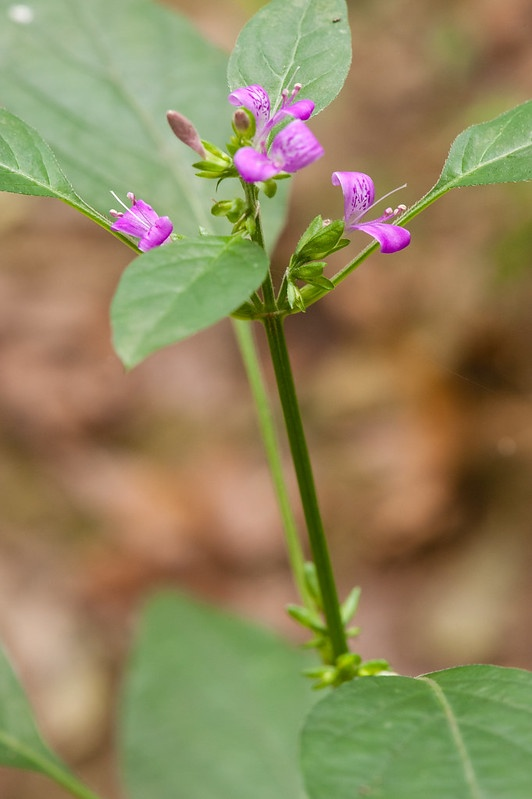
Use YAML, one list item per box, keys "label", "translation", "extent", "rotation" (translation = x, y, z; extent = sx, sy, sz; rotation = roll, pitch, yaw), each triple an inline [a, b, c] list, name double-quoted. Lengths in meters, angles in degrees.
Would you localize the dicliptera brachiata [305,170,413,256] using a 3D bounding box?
- label: "dicliptera brachiata"
  translation: [0.062, -0.124, 0.526]
  extent: [0.078, 0.067, 0.029]
  rotation: [14, -15, -26]
